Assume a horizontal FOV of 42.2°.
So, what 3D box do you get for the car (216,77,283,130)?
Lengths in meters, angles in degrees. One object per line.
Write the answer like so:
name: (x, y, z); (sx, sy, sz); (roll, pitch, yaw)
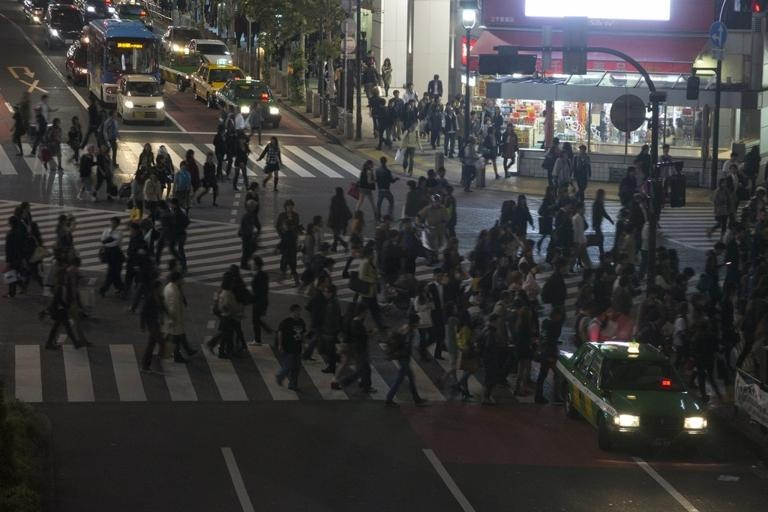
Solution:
car: (-6.869, -7.676, 50.022); (2.346, 2.209, 4.434); (-5, 18, -20)
